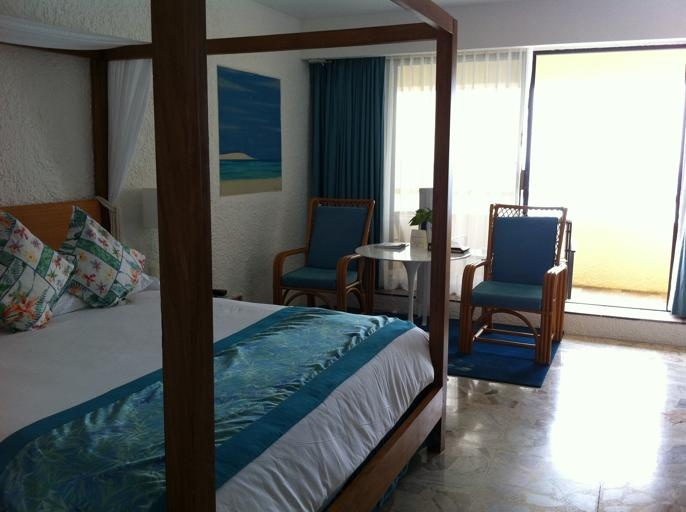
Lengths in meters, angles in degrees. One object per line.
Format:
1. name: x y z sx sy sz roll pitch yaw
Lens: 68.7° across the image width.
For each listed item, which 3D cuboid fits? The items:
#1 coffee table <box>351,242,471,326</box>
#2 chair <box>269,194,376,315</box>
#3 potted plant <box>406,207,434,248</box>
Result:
1. coffee table: 0.578 0.068 4.850 0.859 0.669 0.883 9 17 31
2. chair: -0.176 0.066 5.145 0.806 1.275 0.960 3 9 15
3. potted plant: 0.790 -0.280 4.888 0.341 0.371 0.366 1 7 22
